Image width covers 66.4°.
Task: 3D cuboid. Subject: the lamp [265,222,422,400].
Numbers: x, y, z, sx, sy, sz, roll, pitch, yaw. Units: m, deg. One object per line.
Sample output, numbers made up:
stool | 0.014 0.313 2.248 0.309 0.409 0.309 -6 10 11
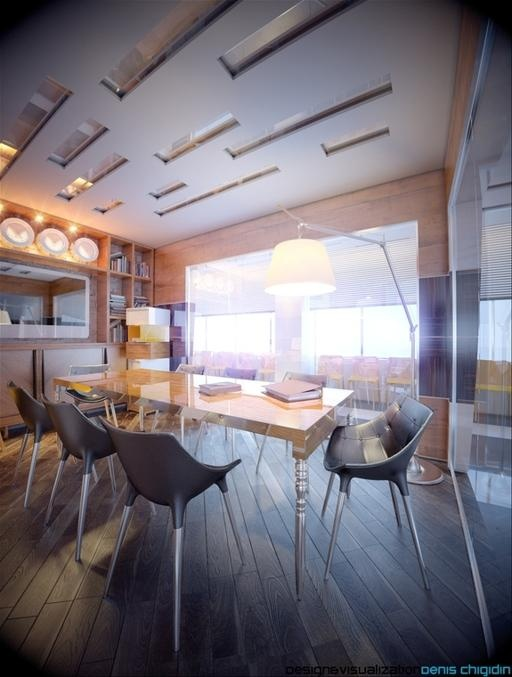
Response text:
lamp | 0.570 -0.085 2.344 1.111 1.218 0.385 7 -7 -27
